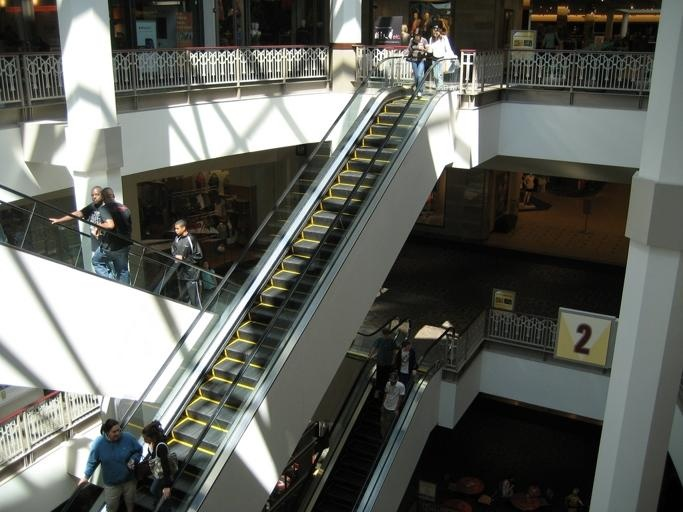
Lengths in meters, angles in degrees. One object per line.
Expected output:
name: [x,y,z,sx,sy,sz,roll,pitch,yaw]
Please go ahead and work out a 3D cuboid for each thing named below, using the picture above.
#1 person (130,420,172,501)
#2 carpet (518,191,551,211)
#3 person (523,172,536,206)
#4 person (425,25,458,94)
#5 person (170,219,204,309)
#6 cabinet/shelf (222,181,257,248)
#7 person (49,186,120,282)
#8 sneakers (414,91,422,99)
person: [-2.780,3.126,8.523,0.542,1.453,0.490,-7,16,-19]
carpet: [9.687,-2.621,28.966,1.138,0.314,1.323,13,32,9]
person: [9.667,-3.683,29.681,0.542,1.543,3.142,7,21,19]
person: [2.471,-4.919,14.222,0.762,1.361,1.336,4,20,11]
person: [-2.942,0.122,10.877,0.555,1.499,1.011,-5,20,-16]
cabinet/shelf: [-4.022,-1.745,22.933,1.279,2.182,0.680,-4,19,-11]
person: [-4.024,-0.173,9.450,1.359,1.804,0.576,14,25,37]
sneakers: [1.752,-3.687,13.248,0.133,0.213,0.061,3,-12,-17]
